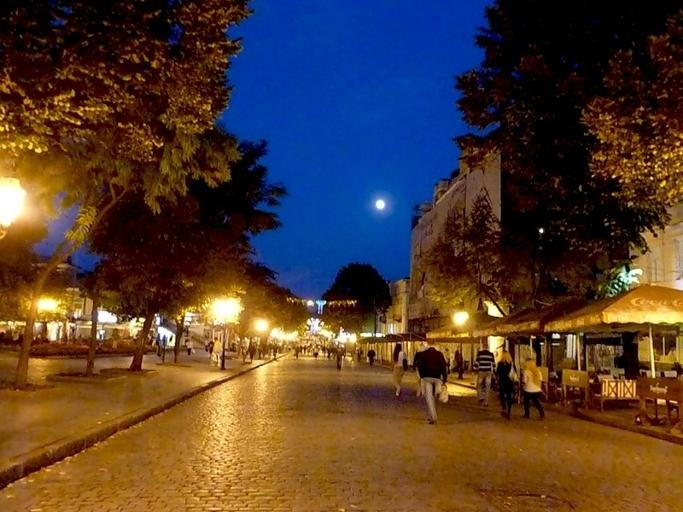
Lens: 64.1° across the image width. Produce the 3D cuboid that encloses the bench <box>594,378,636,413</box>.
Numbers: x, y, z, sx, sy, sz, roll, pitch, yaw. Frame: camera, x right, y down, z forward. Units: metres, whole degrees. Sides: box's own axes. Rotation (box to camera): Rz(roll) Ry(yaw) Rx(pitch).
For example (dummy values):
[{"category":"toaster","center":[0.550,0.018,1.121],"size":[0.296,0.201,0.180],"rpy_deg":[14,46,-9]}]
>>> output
[{"category":"bench","center":[8.881,4.733,18.619],"size":[1.075,1.063,1.511],"rpy_deg":[12,-13,-43]}]

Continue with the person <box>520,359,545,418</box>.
[{"category":"person","center":[5.743,3.991,16.493],"size":[0.561,1.768,1.582],"rpy_deg":[-2,-15,20]}]
